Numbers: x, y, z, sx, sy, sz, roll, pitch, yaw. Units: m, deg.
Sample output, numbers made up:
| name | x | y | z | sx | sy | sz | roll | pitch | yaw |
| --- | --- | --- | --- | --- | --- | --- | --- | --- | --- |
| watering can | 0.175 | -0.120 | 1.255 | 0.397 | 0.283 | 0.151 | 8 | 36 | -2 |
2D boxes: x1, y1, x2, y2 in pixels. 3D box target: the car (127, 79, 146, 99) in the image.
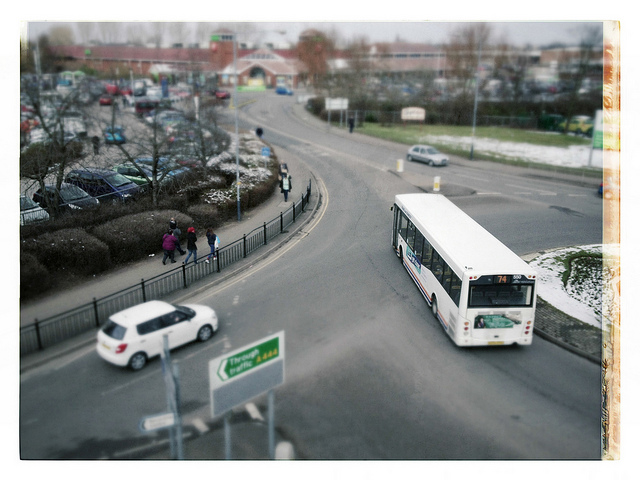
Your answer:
| name | x | y | z | sx | sy | sz | roll | pitch | yaw |
| --- | --- | --- | --- | --- | --- | --- | --- | --- | --- |
| car | -11.436 | -9.544 | 36.349 | 0.872 | 0.800 | 2.795 | -5 | 24 | -11 |

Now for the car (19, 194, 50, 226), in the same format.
| name | x | y | z | sx | sy | sz | roll | pitch | yaw |
| --- | --- | --- | --- | --- | --- | --- | --- | --- | --- |
| car | -15.676 | -1.864 | 31.806 | 1.336 | 1.304 | 2.674 | -12 | 26 | -26 |

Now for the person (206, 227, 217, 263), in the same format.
| name | x | y | z | sx | sy | sz | roll | pitch | yaw |
| --- | --- | --- | --- | --- | --- | --- | --- | --- | --- |
| person | -5.682 | 0.100 | 30.192 | 0.551 | 1.701 | 1.641 | -4 | 22 | -10 |

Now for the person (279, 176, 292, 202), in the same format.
| name | x | y | z | sx | sy | sz | roll | pitch | yaw |
| --- | --- | --- | --- | --- | --- | --- | --- | --- | --- |
| person | -2.427 | -3.640 | 40.508 | 0.593 | 1.877 | 1.019 | -7 | 21 | -18 |

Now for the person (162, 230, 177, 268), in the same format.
| name | x | y | z | sx | sy | sz | roll | pitch | yaw |
| --- | --- | --- | --- | --- | --- | --- | --- | --- | --- |
| person | -7.874 | 0.401 | 30.210 | 0.744 | 1.680 | 0.683 | -10 | 22 | -25 |

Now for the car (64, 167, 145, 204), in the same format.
| name | x | y | z | sx | sy | sz | roll | pitch | yaw |
| --- | --- | --- | --- | --- | --- | --- | --- | --- | --- |
| car | -13.558 | -3.463 | 36.460 | 4.217 | 2.399 | 2.575 | 2 | 29 | 13 |

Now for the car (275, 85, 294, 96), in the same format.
| name | x | y | z | sx | sy | sz | roll | pitch | yaw |
| --- | --- | --- | --- | --- | --- | --- | --- | --- | --- |
| car | -5.036 | -20.362 | 79.269 | 0.957 | 0.823 | 2.016 | -19 | 38 | -31 |

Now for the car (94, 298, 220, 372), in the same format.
| name | x | y | z | sx | sy | sz | roll | pitch | yaw |
| --- | --- | --- | --- | --- | --- | --- | --- | --- | --- |
| car | -6.544 | 4.043 | 24.077 | 4.669 | 2.118 | 2.384 | -21 | 36 | -39 |

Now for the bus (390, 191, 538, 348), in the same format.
| name | x | y | z | sx | sy | sz | roll | pitch | yaw |
| --- | --- | --- | --- | --- | --- | --- | --- | --- | --- |
| bus | 5.954 | 0.524 | 27.708 | 2.821 | 3.400 | 10.883 | -2 | 28 | -7 |
